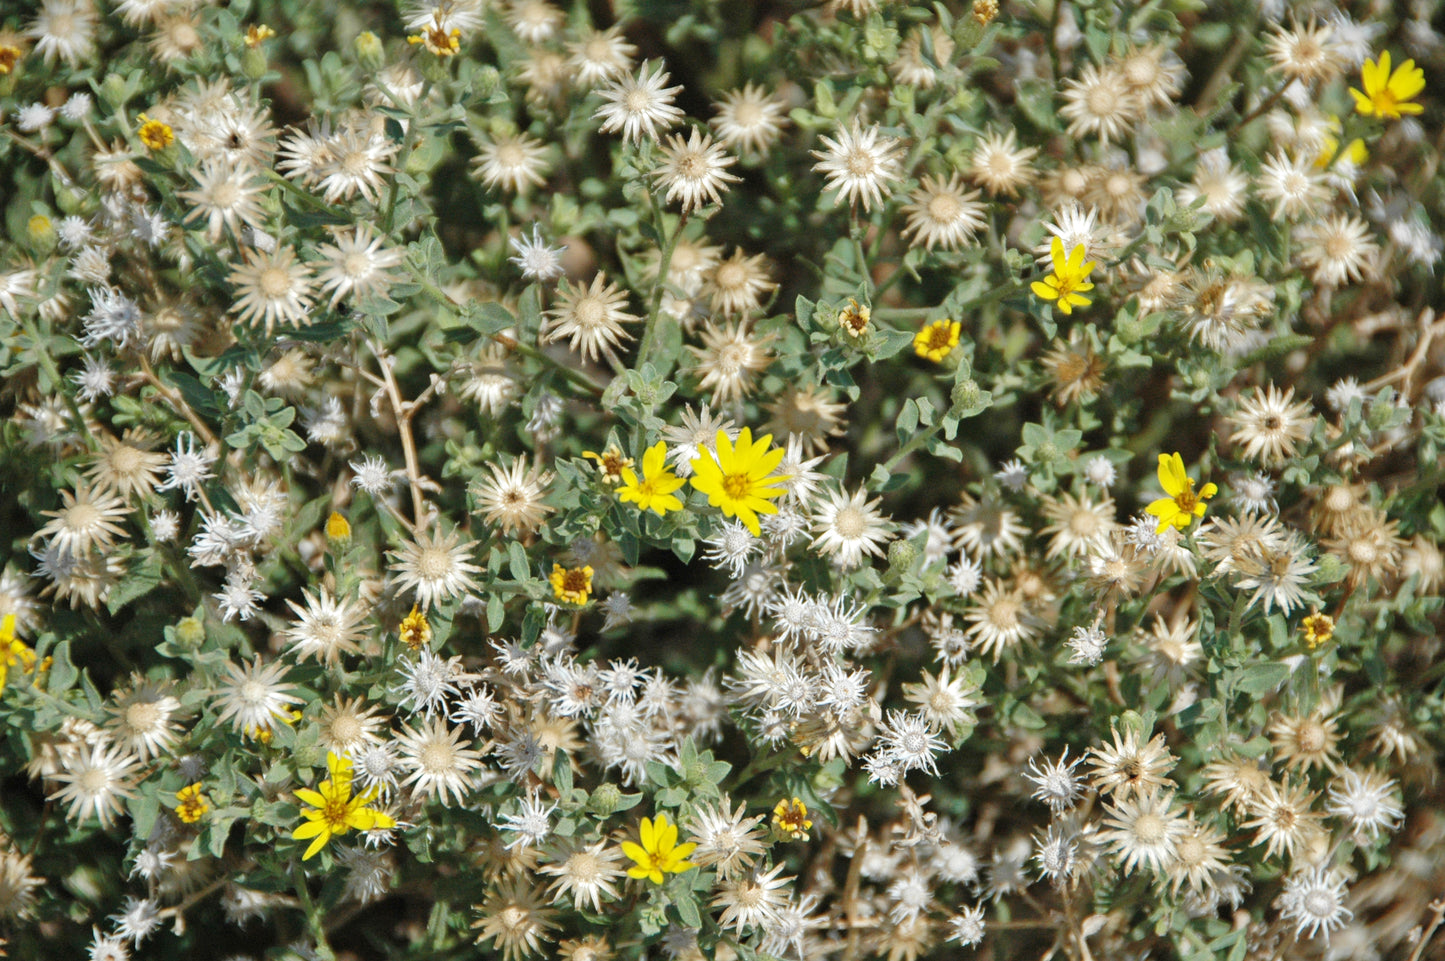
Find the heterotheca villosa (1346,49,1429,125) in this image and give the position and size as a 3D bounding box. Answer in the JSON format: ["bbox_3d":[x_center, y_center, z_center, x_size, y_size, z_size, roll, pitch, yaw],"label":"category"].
[{"bbox_3d":[1.635,-0.997,4.528,0.192,0.250,0.095,15,-21,-10],"label":"heterotheca villosa"}]

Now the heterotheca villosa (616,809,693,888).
[{"bbox_3d":[-0.154,0.869,4.167,0.162,0.093,0.182,1,23,33],"label":"heterotheca villosa"}]

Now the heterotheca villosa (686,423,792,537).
[{"bbox_3d":[0.024,-0.029,4.207,0.196,0.099,0.223,10,-25,-24],"label":"heterotheca villosa"}]

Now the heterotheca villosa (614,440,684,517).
[{"bbox_3d":[-0.153,-0.037,4.170,0.056,0.120,0.118,38,24,13],"label":"heterotheca villosa"}]

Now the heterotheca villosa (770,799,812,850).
[{"bbox_3d":[0.156,0.821,4.309,0.086,0.107,0.038,-4,-13,-35],"label":"heterotheca villosa"}]

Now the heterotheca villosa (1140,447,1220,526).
[{"bbox_3d":[1.079,0.035,4.289,0.156,0.093,0.195,1,41,-20],"label":"heterotheca villosa"}]

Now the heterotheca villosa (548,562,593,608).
[{"bbox_3d":[-0.353,0.247,4.277,0.096,0.099,0.112,3,20,-9],"label":"heterotheca villosa"}]

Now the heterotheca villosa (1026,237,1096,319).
[{"bbox_3d":[0.812,-0.502,4.380,0.189,0.087,0.211,-32,-1,-5],"label":"heterotheca villosa"}]
